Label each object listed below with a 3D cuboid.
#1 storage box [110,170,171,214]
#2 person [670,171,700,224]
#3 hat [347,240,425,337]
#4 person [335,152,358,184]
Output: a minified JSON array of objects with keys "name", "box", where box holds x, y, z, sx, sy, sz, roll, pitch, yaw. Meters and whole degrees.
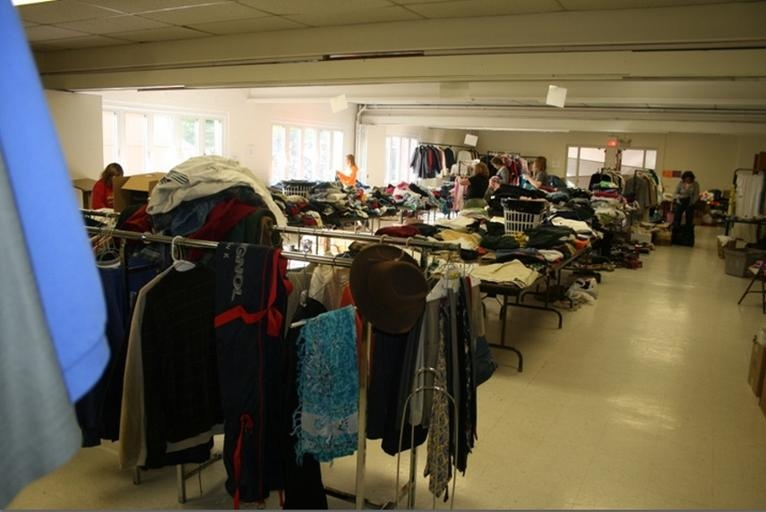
[{"name":"storage box","box":[-2.042,-0.533,4.386,0.393,0.291,0.770,-5,11,-24]},{"name":"person","box":[7.170,-1.353,12.440,0.457,1.263,0.951,5,11,29]},{"name":"hat","box":[0.032,0.139,2.304,0.341,0.356,0.218,0,10,0]},{"name":"person","box":[-0.799,-1.874,11.665,0.544,0.769,0.404,-7,18,-30]}]
